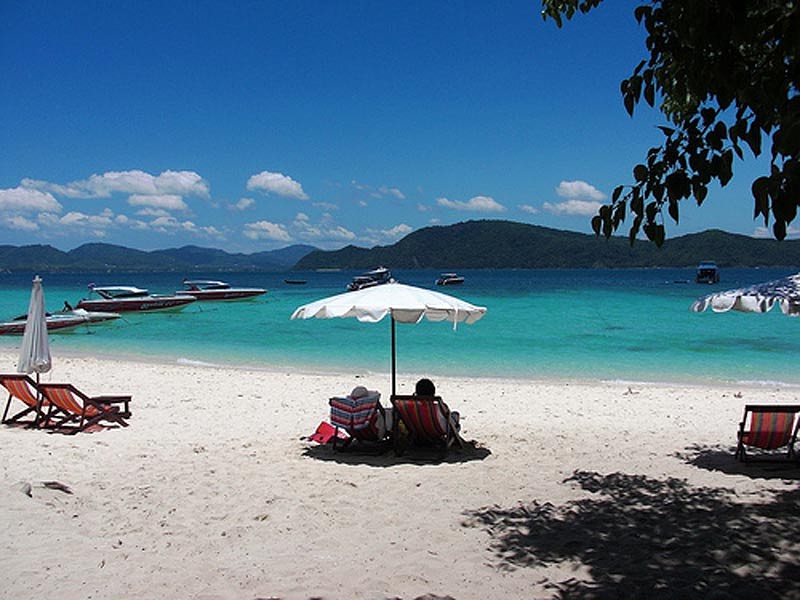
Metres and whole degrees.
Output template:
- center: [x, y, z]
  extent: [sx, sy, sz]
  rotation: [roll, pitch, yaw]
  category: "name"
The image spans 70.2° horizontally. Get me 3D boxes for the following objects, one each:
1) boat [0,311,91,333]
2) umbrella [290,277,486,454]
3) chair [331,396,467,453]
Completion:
- center: [-14.554, 1.003, 23.872]
  extent: [0.987, 0.895, 4.221]
  rotation: [12, 7, 22]
  category: "boat"
- center: [-0.076, 1.121, 8.785]
  extent: [3.170, 2.192, 2.933]
  rotation: [-1, -8, 2]
  category: "umbrella"
- center: [-0.012, 1.843, 8.272]
  extent: [1.718, 0.616, 1.083]
  rotation: [-1, -1, 17]
  category: "chair"
